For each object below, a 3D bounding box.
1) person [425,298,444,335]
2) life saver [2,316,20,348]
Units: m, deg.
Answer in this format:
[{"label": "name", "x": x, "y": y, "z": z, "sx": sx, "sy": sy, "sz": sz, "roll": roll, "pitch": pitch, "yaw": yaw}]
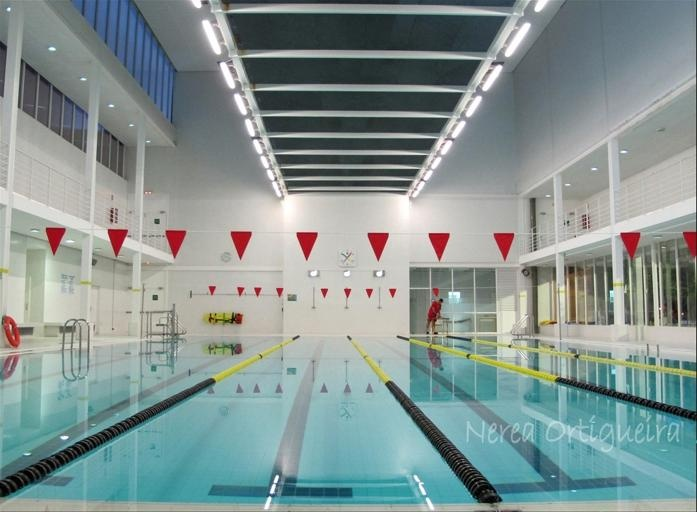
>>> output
[{"label": "person", "x": 3.688, "y": 2.580, "z": 18.035, "sx": 0.748, "sy": 1.545, "sz": 2.038, "roll": -4, "pitch": -8, "yaw": 12}, {"label": "life saver", "x": -8.320, "y": 1.892, "z": 10.535, "sx": 0.333, "sy": 0.815, "sz": 1.647, "roll": 4, "pitch": -10, "yaw": -36}]
